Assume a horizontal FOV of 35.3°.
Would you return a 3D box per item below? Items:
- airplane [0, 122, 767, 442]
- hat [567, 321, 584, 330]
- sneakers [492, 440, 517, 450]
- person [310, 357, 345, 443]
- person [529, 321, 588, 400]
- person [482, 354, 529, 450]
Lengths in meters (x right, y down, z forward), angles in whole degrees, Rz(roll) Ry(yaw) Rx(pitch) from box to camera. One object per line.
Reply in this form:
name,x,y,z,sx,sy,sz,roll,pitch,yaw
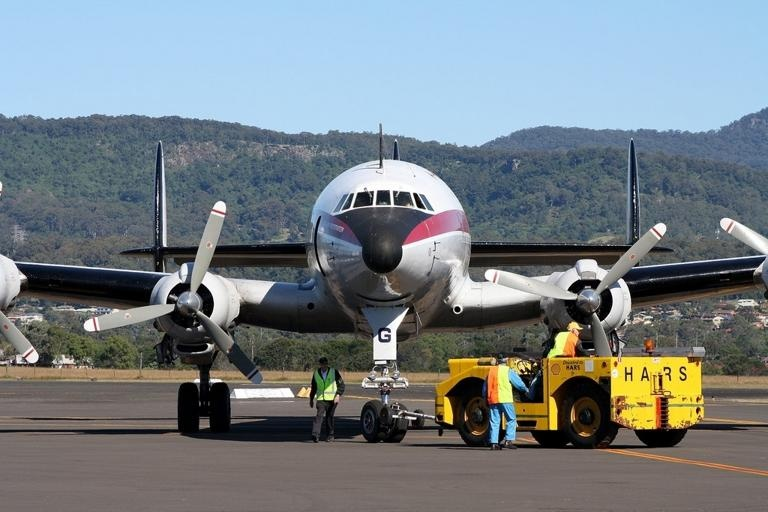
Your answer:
airplane,0.597,0.776,30.347,18.243,7.565,7.403,1,-5,1
hat,4.492,1.656,28.448,0.253,0.109,0.293,14,16,31
sneakers,2.684,4.213,27.238,0.648,0.247,0.209,-3,2,-14
person,-1.421,3.392,28.976,0.900,1.995,0.730,5,-6,-31
person,4.043,2.300,28.138,1.126,0.698,1.951,4,39,7
person,2.649,3.346,27.126,0.620,1.914,0.710,-2,-6,37
